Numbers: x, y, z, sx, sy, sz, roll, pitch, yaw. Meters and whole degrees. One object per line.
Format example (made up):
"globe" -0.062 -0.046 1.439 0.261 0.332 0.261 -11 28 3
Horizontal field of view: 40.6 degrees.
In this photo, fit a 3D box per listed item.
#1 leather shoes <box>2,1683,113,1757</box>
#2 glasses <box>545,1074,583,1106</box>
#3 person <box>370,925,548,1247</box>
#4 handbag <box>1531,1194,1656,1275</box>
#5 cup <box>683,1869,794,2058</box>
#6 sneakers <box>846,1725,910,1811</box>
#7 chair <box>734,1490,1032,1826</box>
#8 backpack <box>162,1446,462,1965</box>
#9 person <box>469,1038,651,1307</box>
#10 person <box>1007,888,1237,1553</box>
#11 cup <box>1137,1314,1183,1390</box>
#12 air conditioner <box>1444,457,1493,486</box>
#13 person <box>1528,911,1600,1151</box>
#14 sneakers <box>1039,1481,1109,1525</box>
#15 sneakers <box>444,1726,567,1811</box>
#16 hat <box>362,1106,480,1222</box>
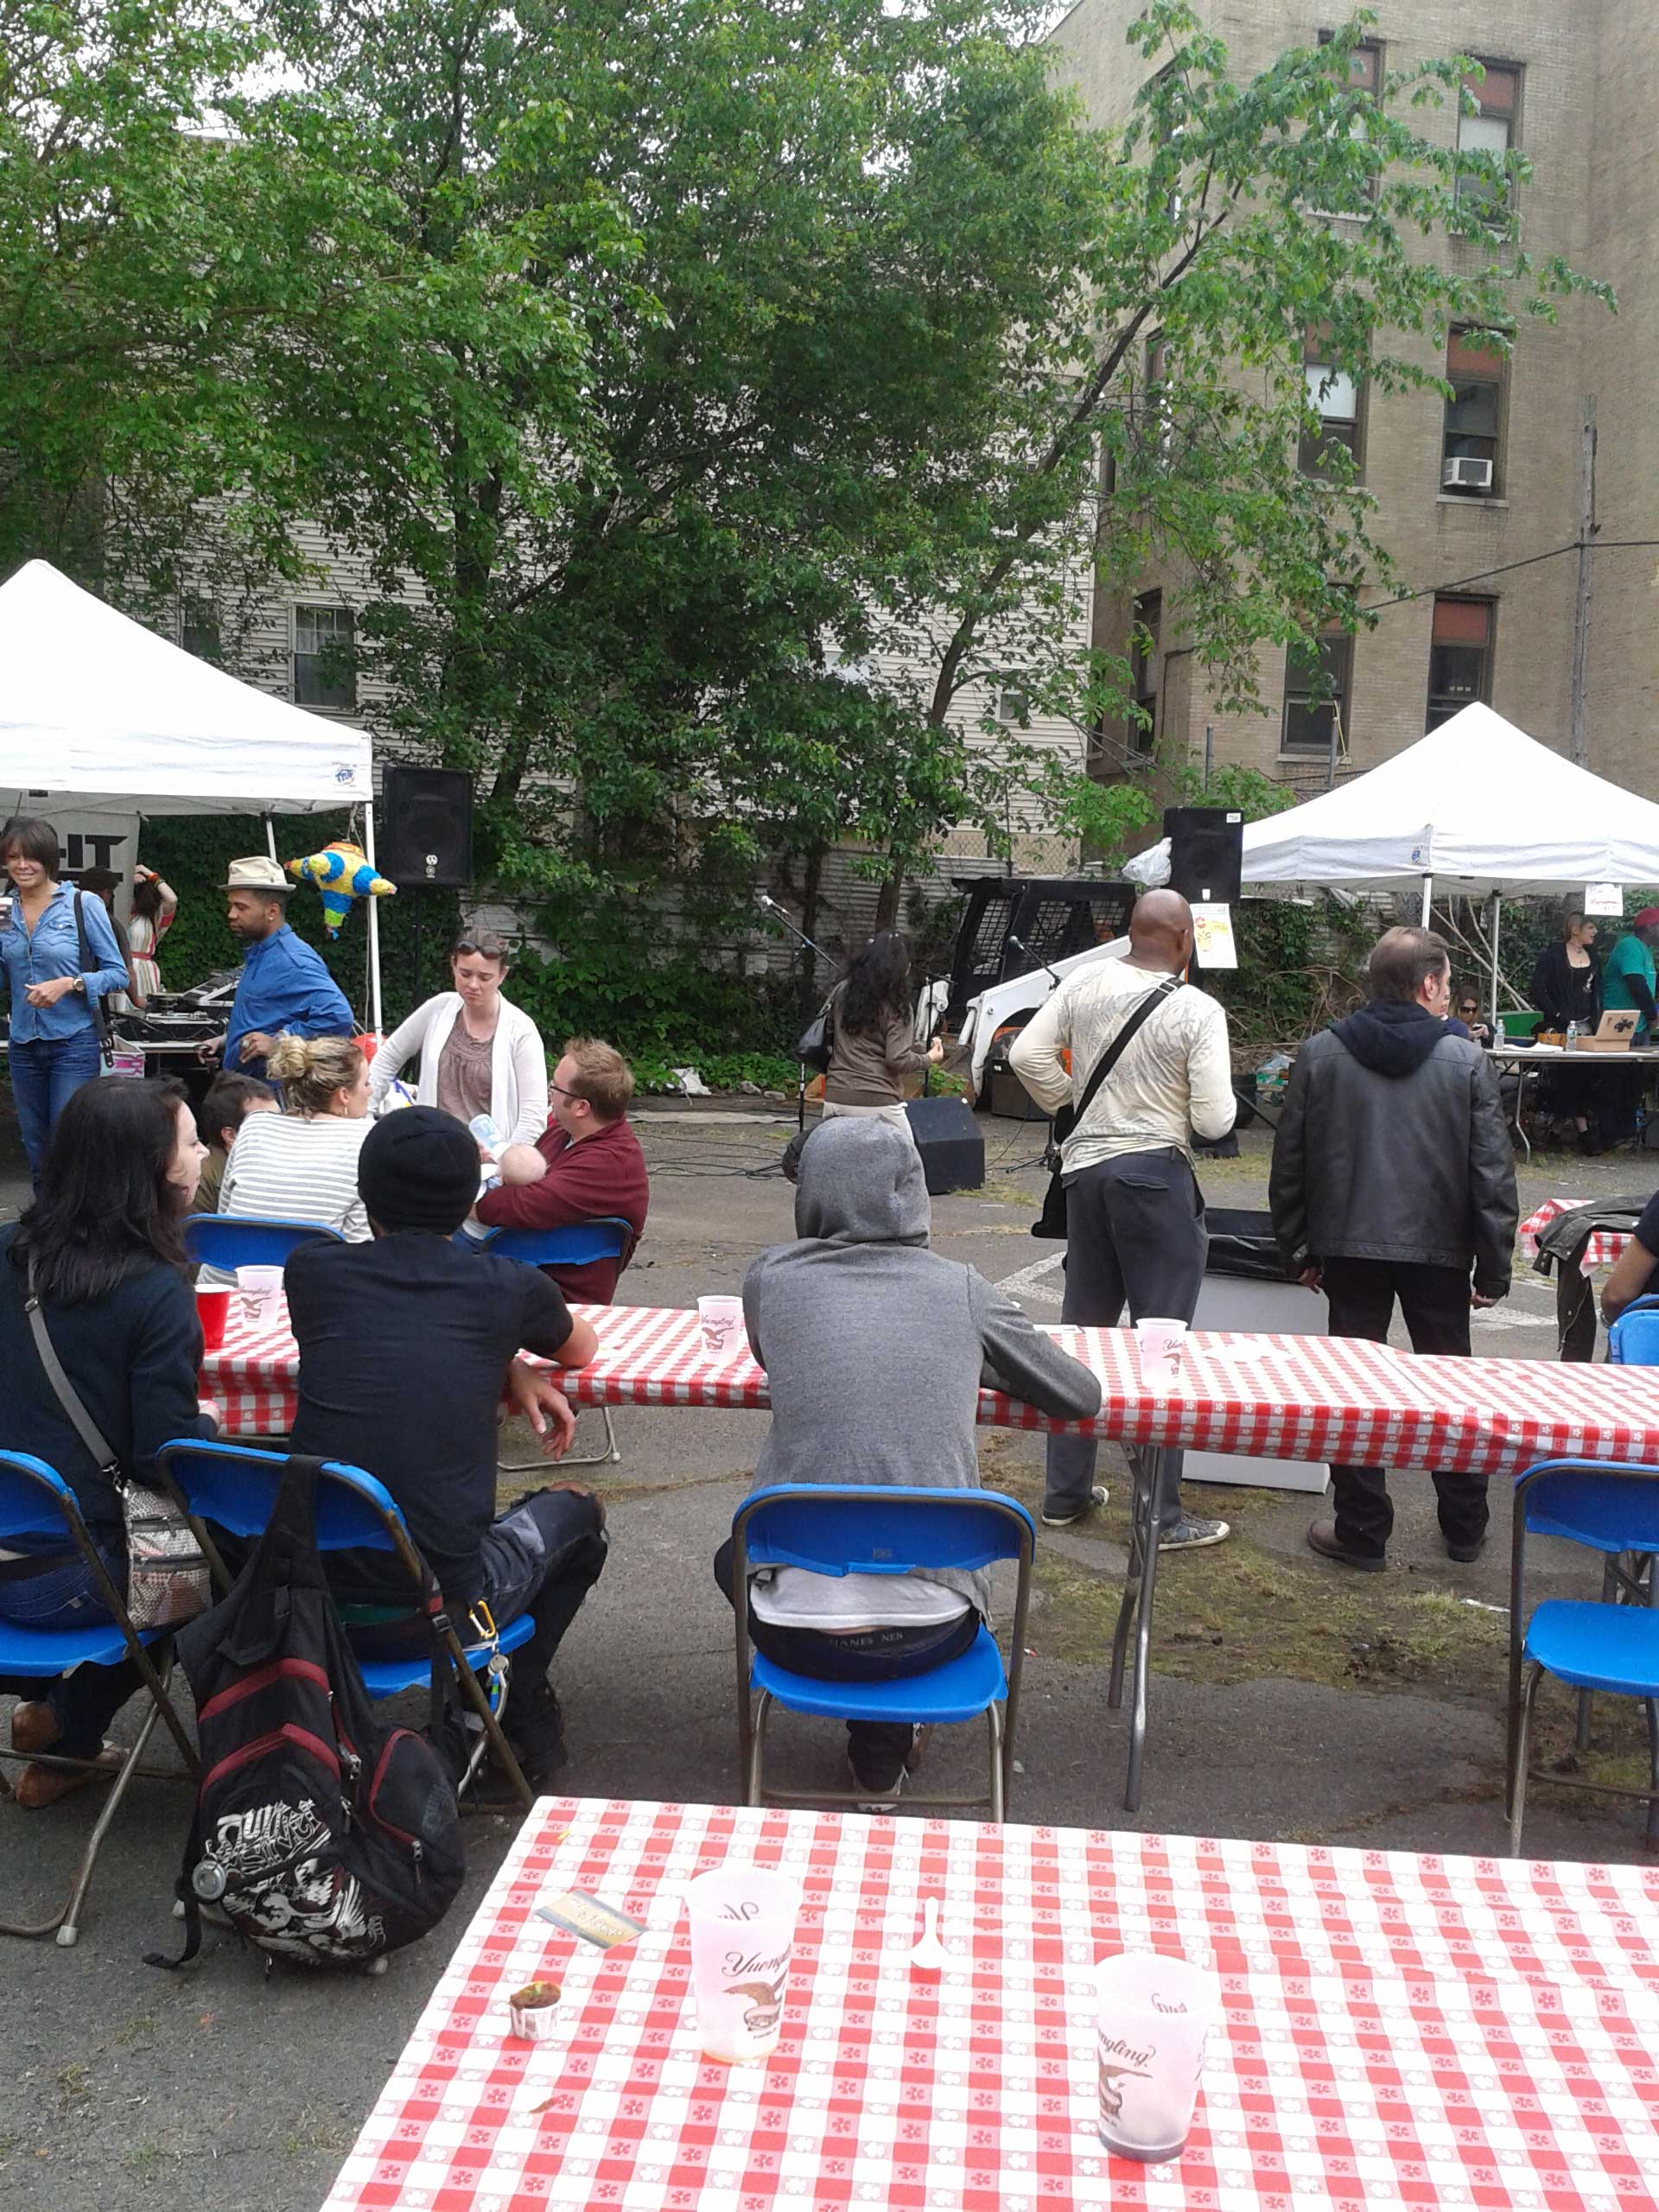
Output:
"leather shoes" -1.315 1.054 3.835 0.121 0.146 0.156 15 -6 -16
"glasses" -0.668 -0.037 5.550 0.023 0.066 0.070 0 -4 27
"person" -1.088 0.038 6.693 0.608 1.082 0.381 13 22 20
"handbag" 1.904 0.362 5.690 0.309 0.133 0.290 -2 -9 -1
"cup" -0.074 0.696 1.795 0.100 0.110 0.096 2 -8 0
"sneakers" 0.077 1.096 3.785 0.076 0.166 0.080 -3 7 5
"chair" 0.069 0.853 3.494 0.448 0.696 0.529 3 9 3
"backpack" -0.763 0.858 3.196 0.473 0.704 0.346 5 -9 -32
"person" -0.709 0.250 5.718 0.515 0.810 0.381 5 26 7
"person" 0.798 0.266 5.598 0.587 1.545 0.556 4 4 40
"cup" 0.583 0.443 3.990 0.107 0.106 0.103 0 5 0
"air conditioner" 6.535 -6.477 22.922 0.564 0.279 0.368 0 -1 -4
"person" 4.779 -0.484 14.554 0.557 1.511 0.462 0 8 -16
"sneakers" 0.631 1.012 5.670 0.073 0.083 0.217 -6 -6 40
"sneakers" -0.553 1.131 3.813 0.183 0.185 0.146 2 9 -3
"hat" -0.618 0.081 3.441 0.149 0.180 0.161 7 -40 -10
